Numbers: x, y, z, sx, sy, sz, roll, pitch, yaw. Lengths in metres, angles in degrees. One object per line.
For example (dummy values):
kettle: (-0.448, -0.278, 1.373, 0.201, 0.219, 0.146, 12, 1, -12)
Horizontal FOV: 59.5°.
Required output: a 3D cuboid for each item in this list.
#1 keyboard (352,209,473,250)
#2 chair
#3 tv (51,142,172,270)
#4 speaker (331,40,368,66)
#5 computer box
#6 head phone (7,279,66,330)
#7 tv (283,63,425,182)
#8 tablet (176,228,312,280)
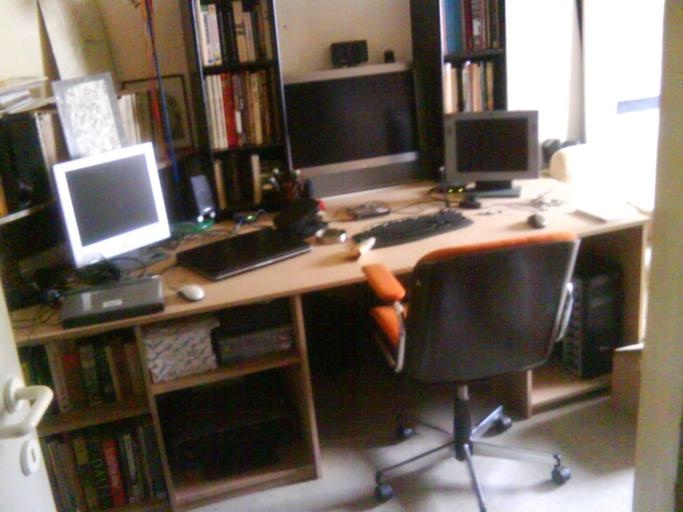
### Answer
keyboard: (0.316, -0.124, 2.670, 0.398, 0.043, 0.224, -17, 25, -16)
chair: (0.486, 0.409, 2.293, 0.769, 1.070, 0.482, -2, 20, 12)
tv: (-0.969, -0.225, 2.558, 0.039, 0.429, 0.452, 9, 24, 36)
speaker: (0.043, -1.098, 3.235, 0.194, 0.136, 0.137, -5, 19, -11)
computer box: (1.133, 0.306, 2.854, 0.220, 0.518, 0.251, -7, 21, -17)
head phone: (-1.173, 0.171, 2.325, 0.209, 0.149, 0.186, -5, 21, -24)
tv: (0.037, -0.746, 3.231, 0.635, 0.454, 0.078, -11, 13, -10)
tablet: (-0.401, -0.003, 2.570, 0.442, 0.047, 0.335, -14, 24, -35)
